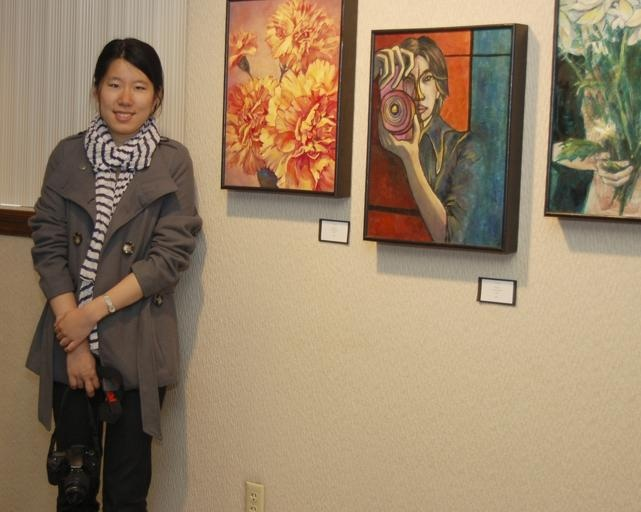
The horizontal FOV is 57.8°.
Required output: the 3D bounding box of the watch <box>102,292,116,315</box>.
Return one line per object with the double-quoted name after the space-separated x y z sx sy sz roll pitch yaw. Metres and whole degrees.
-0.655 0.150 1.806 0.030 0.054 0.053 -21 -27 -17 "watch"
